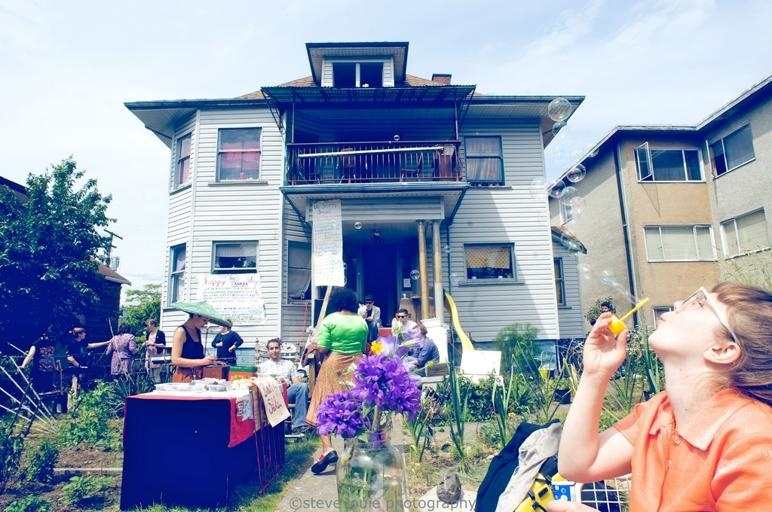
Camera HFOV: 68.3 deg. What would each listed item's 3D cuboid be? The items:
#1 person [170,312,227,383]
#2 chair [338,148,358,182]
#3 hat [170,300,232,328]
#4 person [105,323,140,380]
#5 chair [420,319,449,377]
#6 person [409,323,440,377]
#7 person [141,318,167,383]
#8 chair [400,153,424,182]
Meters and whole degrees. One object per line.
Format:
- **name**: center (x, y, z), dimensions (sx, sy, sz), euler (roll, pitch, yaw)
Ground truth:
- **person**: center (-2.802, 1.332, 8.350), dimensions (0.630, 0.986, 0.633), euler (2, -12, -17)
- **chair**: center (-1.159, -2.497, 15.297), dimensions (0.526, 0.930, 0.482), euler (-2, 5, -17)
- **hat**: center (-2.892, 0.816, 8.612), dimensions (0.677, 0.219, 0.668), euler (29, -20, -36)
- **person**: center (-6.027, 2.096, 12.935), dimensions (0.626, 1.309, 1.666), euler (5, -13, -26)
- **chair**: center (1.180, 1.848, 12.770), dimensions (0.818, 1.285, 0.782), euler (-2, -12, 14)
- **person**: center (0.670, 1.890, 11.172), dimensions (0.783, 1.067, 0.585), euler (-3, 4, -6)
- **person**: center (-5.412, 2.138, 13.312), dimensions (0.424, 1.483, 1.975), euler (4, -13, -22)
- **chair**: center (0.715, -2.432, 15.526), dimensions (0.617, 0.966, 0.860), euler (-2, -12, 4)
